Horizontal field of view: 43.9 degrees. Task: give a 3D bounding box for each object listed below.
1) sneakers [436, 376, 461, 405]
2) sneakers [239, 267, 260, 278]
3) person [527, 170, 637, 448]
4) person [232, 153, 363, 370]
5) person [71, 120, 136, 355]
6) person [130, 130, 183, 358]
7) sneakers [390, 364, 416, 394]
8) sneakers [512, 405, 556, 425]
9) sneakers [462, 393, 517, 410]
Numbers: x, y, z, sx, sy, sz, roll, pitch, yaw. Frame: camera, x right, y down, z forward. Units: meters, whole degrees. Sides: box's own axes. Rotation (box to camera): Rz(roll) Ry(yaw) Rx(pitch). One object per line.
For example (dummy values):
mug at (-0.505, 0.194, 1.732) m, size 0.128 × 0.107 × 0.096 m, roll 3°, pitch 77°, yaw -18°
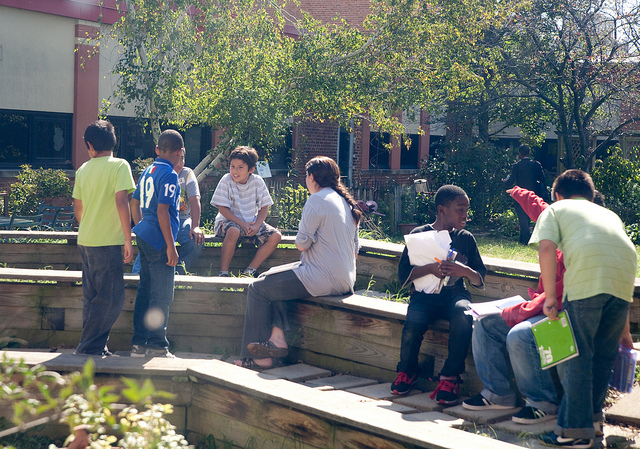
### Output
sneakers at (1.294, 1.656, 7.970) m, size 0.300 × 0.263 × 0.206 m, roll 2°, pitch 5°, yaw -13°
sneakers at (-0.917, 0.620, 10.347) m, size 0.261 × 0.123 × 0.093 m, roll 7°, pitch -2°, yaw -1°
person at (2.432, 0.903, 7.430) m, size 0.957 × 2.219 × 0.652 m, roll 4°, pitch 5°, yaw 11°
person at (-0.195, 0.403, 8.806) m, size 1.322 × 2.318 × 0.525 m, roll 2°, pitch 5°, yaw -9°
person at (-2.302, 0.145, 8.501) m, size 0.574 × 2.463 × 0.506 m, roll 1°, pitch 6°, yaw -19°
person at (-1.773, 0.187, 8.578) m, size 0.469 × 2.413 × 0.686 m, roll 1°, pitch 5°, yaw -14°
sneakers at (0.875, 1.602, 8.229) m, size 0.165 × 0.199 × 0.459 m, roll -2°, pitch 5°, yaw 31°
sneakers at (2.034, 1.807, 7.608) m, size 0.404 × 0.180 × 0.172 m, roll 2°, pitch -4°, yaw 1°
sneakers at (1.652, 1.754, 7.788) m, size 0.516 × 0.231 × 0.203 m, roll 3°, pitch -3°, yaw 6°
